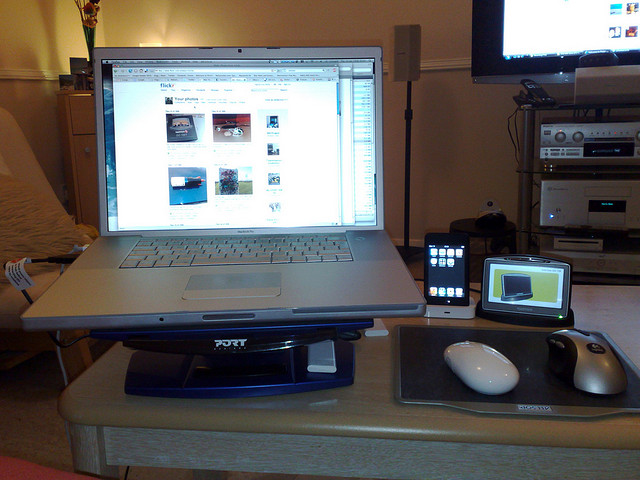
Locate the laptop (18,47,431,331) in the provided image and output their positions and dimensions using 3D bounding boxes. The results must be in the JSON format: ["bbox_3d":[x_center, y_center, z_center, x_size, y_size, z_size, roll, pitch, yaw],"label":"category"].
[{"bbox_3d":[-0.123,-0.093,0.795,0.545,0.307,0.348,0,28,-6],"label":"laptop"}]

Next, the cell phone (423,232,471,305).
[{"bbox_3d":[0.225,0.055,0.933,0.092,0.132,0.015,2,-5,-15],"label":"cell phone"}]

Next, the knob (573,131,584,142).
[{"bbox_3d":[1.006,-0.411,2.017,0.045,0.045,0.015,2,29,22],"label":"knob"}]

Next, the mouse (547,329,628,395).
[{"bbox_3d":[0.399,0.163,0.784,0.102,0.054,0.156,-6,14,5],"label":"mouse"}]
